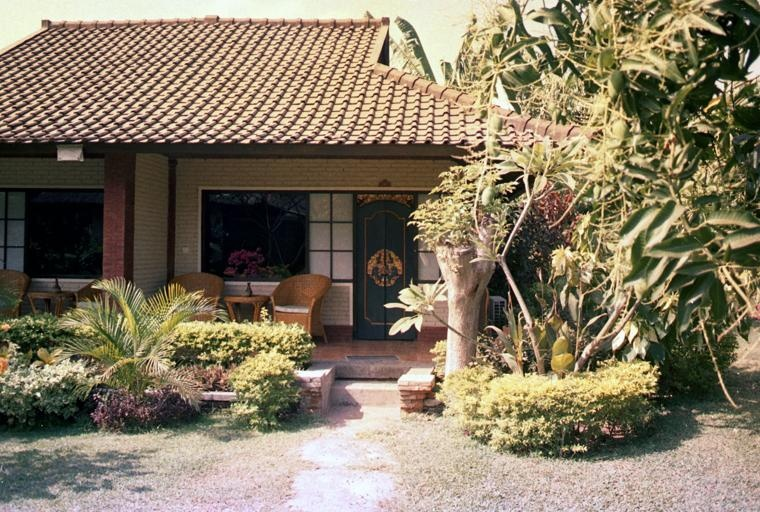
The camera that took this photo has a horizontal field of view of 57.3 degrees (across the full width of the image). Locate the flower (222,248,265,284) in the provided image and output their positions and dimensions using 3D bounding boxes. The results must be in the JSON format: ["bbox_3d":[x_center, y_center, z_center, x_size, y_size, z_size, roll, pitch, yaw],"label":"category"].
[{"bbox_3d":[-2.596,0.174,13.439,0.781,0.635,0.218,0,-2,16],"label":"flower"}]

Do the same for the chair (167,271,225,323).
[{"bbox_3d":[-3.362,0.707,12.938,0.971,1.317,0.917,0,-7,-7],"label":"chair"}]

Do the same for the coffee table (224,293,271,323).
[{"bbox_3d":[-2.466,0.906,12.831,0.613,0.495,0.618,-1,-5,0],"label":"coffee table"}]

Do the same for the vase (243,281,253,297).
[{"bbox_3d":[-2.434,0.644,12.835,0.158,0.258,0.246,0,-5,-17],"label":"vase"}]

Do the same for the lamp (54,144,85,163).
[{"bbox_3d":[-4.929,-1.650,11.113,0.423,0.219,0.360,1,-2,-10],"label":"lamp"}]

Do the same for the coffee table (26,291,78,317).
[{"bbox_3d":[-6.158,0.887,13.070,0.819,0.456,1.268,1,-3,-28],"label":"coffee table"}]

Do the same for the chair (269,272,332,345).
[{"bbox_3d":[-1.413,0.936,12.601,1.061,1.210,1.133,0,-2,-7],"label":"chair"}]
